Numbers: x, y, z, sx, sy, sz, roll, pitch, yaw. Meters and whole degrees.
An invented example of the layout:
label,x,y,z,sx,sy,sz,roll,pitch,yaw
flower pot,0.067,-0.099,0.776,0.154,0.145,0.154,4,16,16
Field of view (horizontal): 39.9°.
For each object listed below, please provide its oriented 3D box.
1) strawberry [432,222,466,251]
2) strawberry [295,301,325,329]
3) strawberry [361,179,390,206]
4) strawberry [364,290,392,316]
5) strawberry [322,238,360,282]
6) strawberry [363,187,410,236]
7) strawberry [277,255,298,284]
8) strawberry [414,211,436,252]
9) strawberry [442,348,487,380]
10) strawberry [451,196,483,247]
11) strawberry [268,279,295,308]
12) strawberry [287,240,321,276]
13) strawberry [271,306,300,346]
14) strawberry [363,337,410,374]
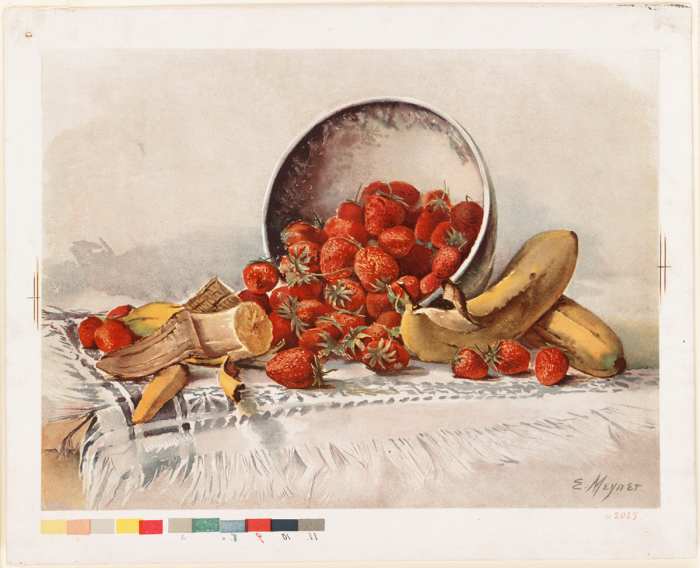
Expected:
label,x,y,z,sx,sy,sz,roll,pitch,yaw
strawberry,0.228,-0.109,2.225,0.058,0.068,0.039,-36,3,10
strawberry,-0.089,0.071,2.225,0.061,0.053,0.036,18,4,0
strawberry,0.054,-0.217,2.251,0.046,0.065,0.036,7,-19,20
strawberry,0.066,0.042,2.222,0.051,0.050,0.029,-52,15,-11
strawberry,-0.020,-0.051,2.268,0.073,0.104,0.057,19,2,22
strawberry,0.085,-0.156,2.290,0.102,0.092,0.089,-47,-9,-7
strawberry,-0.149,-0.038,2.243,0.038,0.056,0.012,-1,-2,31
strawberry,0.173,-0.125,2.224,0.050,0.073,0.020,9,-3,-16
strawberry,0.270,0.201,2.236,0.073,0.066,0.061,14,-33,-8
strawberry,0.271,-0.146,2.278,0.069,0.097,0.045,-21,1,-12
strawberry,-0.158,0.027,2.270,0.032,0.055,0.053,23,-57,-39
strawberry,-0.099,-0.050,2.231,0.060,0.073,0.045,-19,-12,-8
strawberry,-0.154,0.092,2.258,0.043,0.080,0.058,-33,15,-18
strawberry,0.083,0.167,2.239,0.085,0.073,0.057,12,4,3
